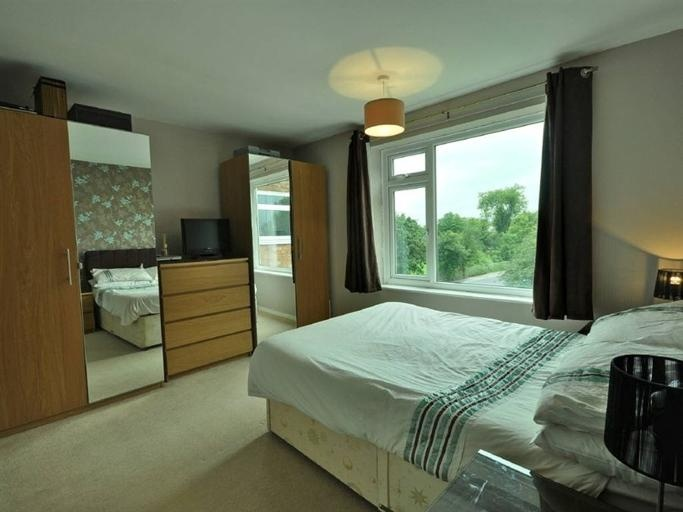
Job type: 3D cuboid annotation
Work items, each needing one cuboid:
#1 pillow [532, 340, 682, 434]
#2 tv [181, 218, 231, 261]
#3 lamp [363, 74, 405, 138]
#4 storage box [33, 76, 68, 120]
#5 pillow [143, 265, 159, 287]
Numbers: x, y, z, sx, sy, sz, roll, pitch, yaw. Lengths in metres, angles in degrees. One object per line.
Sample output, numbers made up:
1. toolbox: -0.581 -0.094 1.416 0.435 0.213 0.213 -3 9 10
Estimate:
1. pillow: 1.423 0.695 3.011 0.139 0.560 0.587 25 -16 -14
2. tv: -1.426 -0.188 5.532 0.155 0.409 0.571 -1 4 32
3. lamp: 0.319 -1.254 4.511 0.458 0.518 0.458 -1 2 -8
4. storage box: -2.404 -1.280 4.368 0.240 0.246 0.271 -5 3 -28
5. pillow: -1.744 0.181 4.845 0.145 0.163 0.047 -4 -7 -44
